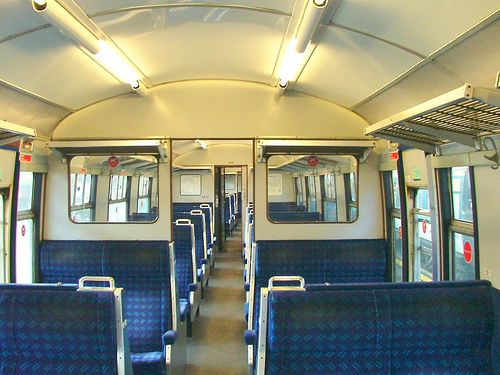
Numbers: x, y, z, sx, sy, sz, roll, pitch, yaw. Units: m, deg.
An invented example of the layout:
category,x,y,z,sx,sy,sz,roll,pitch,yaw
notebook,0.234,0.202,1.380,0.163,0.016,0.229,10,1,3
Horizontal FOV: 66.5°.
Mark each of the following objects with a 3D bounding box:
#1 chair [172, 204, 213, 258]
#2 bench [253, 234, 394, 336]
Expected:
category,x,y,z,sx,sy,sz,roll,pitch,yaw
chair,-1.616,1.102,10.913,1.199,1.164,0.635,-5,-18,-7
bench,1.116,1.462,5.701,2.105,1.512,1.094,0,-9,0
